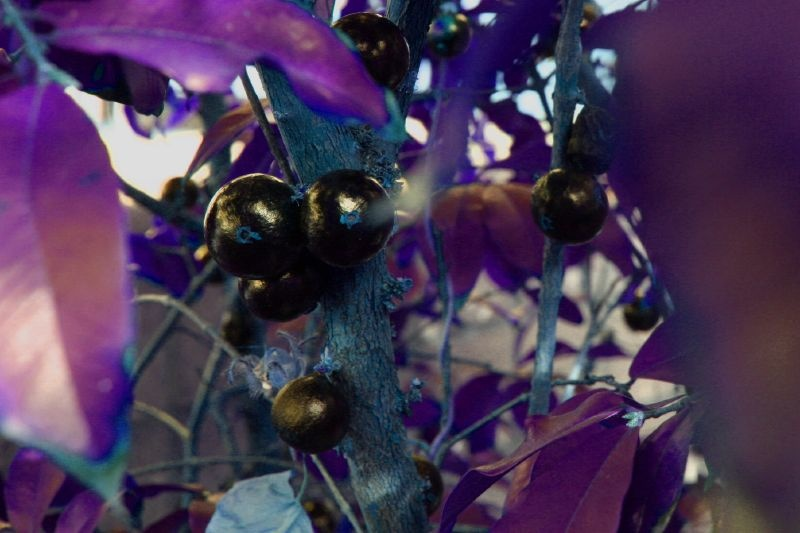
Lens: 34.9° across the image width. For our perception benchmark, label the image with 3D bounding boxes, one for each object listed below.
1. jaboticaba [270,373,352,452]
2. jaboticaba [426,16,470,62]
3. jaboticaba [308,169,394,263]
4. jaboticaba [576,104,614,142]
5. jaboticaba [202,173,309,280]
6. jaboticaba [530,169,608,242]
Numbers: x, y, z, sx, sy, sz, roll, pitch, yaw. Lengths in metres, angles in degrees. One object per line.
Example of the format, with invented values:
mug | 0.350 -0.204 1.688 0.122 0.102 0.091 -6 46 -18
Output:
jaboticaba | -0.059 0.098 0.841 0.051 0.051 0.031 1 10 -6
jaboticaba | 0.041 -0.189 1.040 0.034 0.036 0.043 2 10 2
jaboticaba | -0.025 -0.032 0.805 0.054 0.057 0.030 2 3 -13
jaboticaba | 0.129 -0.095 0.837 0.024 0.020 0.009 10 -3 -21
jaboticaba | -0.087 -0.028 0.822 0.060 0.074 0.062 4 13 0
jaboticaba | 0.117 -0.045 0.858 0.043 0.050 0.028 -36 -4 19
